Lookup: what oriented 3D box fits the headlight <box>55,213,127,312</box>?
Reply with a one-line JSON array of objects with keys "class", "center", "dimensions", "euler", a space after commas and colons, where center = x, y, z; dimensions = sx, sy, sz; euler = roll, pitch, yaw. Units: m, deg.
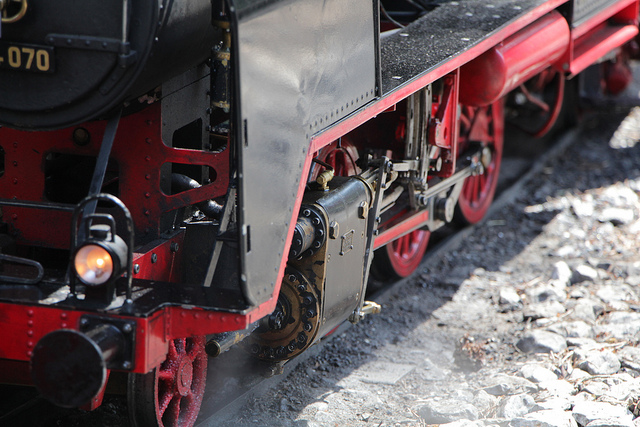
[{"class": "headlight", "center": [-1.159, 0.234, 3.327], "dimensions": [0.368, 0.492, 0.357], "euler": [5, 9, -4]}]
